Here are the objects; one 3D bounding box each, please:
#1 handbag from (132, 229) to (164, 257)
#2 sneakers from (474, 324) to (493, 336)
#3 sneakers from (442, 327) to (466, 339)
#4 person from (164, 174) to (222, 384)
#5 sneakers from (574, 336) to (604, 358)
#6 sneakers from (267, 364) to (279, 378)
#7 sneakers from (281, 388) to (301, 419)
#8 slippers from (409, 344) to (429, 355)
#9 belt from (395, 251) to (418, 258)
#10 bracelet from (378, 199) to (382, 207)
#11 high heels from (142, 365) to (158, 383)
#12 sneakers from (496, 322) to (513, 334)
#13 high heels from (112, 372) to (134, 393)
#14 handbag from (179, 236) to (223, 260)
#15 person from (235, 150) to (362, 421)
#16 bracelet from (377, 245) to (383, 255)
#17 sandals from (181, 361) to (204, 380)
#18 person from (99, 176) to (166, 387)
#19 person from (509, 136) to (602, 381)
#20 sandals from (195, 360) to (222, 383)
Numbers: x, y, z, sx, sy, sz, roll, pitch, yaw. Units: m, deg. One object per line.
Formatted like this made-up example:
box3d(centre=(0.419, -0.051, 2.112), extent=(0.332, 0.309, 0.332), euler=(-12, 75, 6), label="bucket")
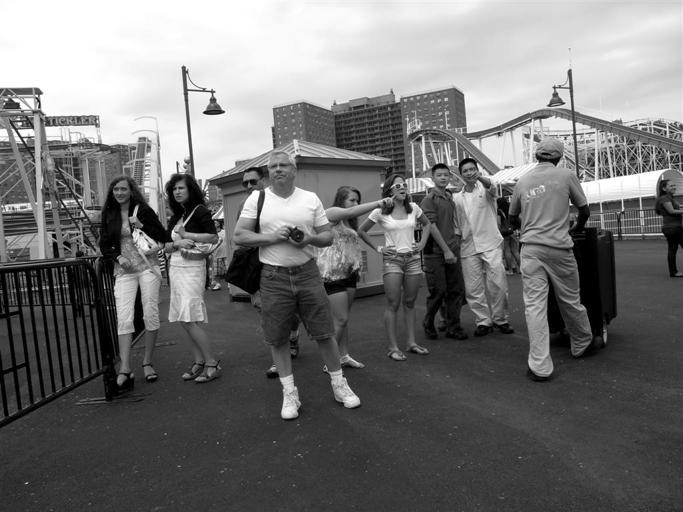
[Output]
box3d(centre=(-2.272, -0.148, 5.676), extent=(0.125, 0.329, 0.235), euler=(-47, -5, -39), label="handbag")
box3d(centre=(2.000, 1.026, 6.910), extent=(0.285, 0.151, 0.116), euler=(0, 4, -28), label="sneakers")
box3d(centre=(1.577, 1.064, 6.791), extent=(0.264, 0.123, 0.119), euler=(-5, 1, 29), label="sneakers")
box3d(centre=(-1.712, 0.221, 5.652), extent=(0.607, 2.310, 0.722), euler=(-5, 8, -15), label="person")
box3d(centre=(2.857, 1.032, 5.611), extent=(0.306, 0.128, 0.219), euler=(-25, 10, -15), label="sneakers")
box3d(centre=(-0.778, 1.305, 5.602), extent=(0.131, 0.180, 0.377), euler=(-2, -12, 0), label="sneakers")
box3d(centre=(-0.460, 1.305, 4.380), extent=(0.172, 0.207, 0.267), euler=(-4, 8, -5), label="sneakers")
box3d(centre=(0.950, 1.153, 6.079), extent=(0.186, 0.081, 0.122), euler=(-5, -4, 41), label="slippers")
box3d(centre=(0.794, -0.016, 5.949), extent=(0.276, 0.080, 0.041), euler=(-6, 8, -16), label="belt")
box3d(centre=(0.386, -0.533, 5.006), extent=(0.015, 0.063, 0.061), euler=(7, -11, 3), label="bracelet")
box3d(centre=(-2.246, 1.352, 5.714), extent=(0.109, 0.123, 0.300), euler=(-2, -2, -27), label="high heels")
box3d(centre=(2.298, 1.017, 6.938), extent=(0.107, 0.123, 0.273), euler=(-3, -4, -18), label="sneakers")
box3d(centre=(-2.359, 1.364, 5.306), extent=(0.154, 0.218, 0.358), euler=(-6, 9, -16), label="high heels")
box3d(centre=(-1.639, -0.064, 5.619), extent=(0.304, 0.134, 0.241), euler=(-12, 10, -12), label="handbag")
box3d(centre=(-0.455, 0.243, 4.504), extent=(0.987, 2.358, 0.633), euler=(-3, 8, -1), label="person")
box3d(centre=(0.492, -0.081, 6.157), extent=(0.038, 0.107, 0.099), euler=(7, -22, 9), label="bracelet")
box3d(centre=(-1.732, 1.345, 5.789), extent=(0.124, 0.161, 0.360), euler=(-4, -7, 16), label="sandals")
box3d(centre=(-2.349, 0.282, 5.647), extent=(0.723, 2.353, 0.861), euler=(-7, 9, -27), label="person")
box3d(centre=(2.182, 0.105, 5.237), extent=(0.706, 2.148, 1.179), euler=(3, 10, 40), label="person")
box3d(centre=(-1.523, 1.312, 5.609), extent=(0.149, 0.131, 0.290), euler=(-3, -2, 20), label="sandals")
